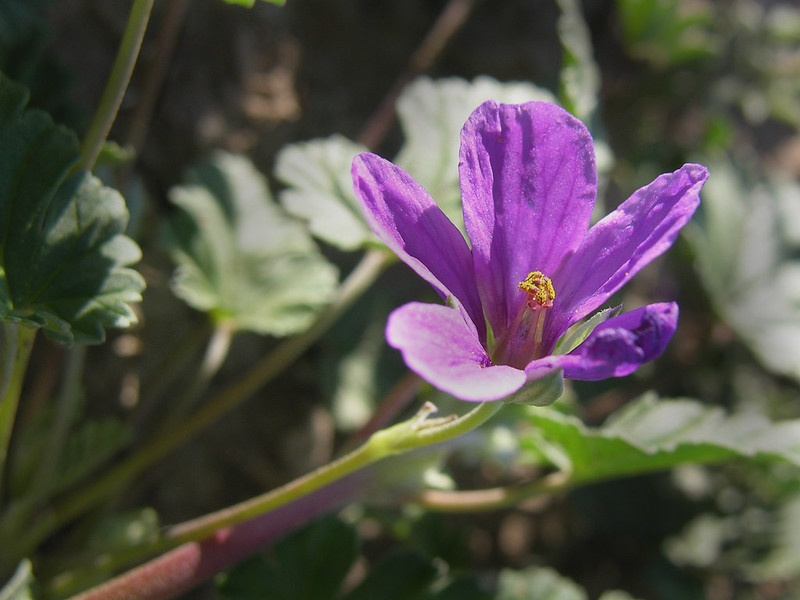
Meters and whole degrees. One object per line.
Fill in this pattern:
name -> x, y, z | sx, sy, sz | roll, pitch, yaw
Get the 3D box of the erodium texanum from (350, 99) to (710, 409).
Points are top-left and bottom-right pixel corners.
erodium texanum -> 0.171, -0.030, 1.398 | 0.588, 0.336, 0.509 | 21, 18, 41
